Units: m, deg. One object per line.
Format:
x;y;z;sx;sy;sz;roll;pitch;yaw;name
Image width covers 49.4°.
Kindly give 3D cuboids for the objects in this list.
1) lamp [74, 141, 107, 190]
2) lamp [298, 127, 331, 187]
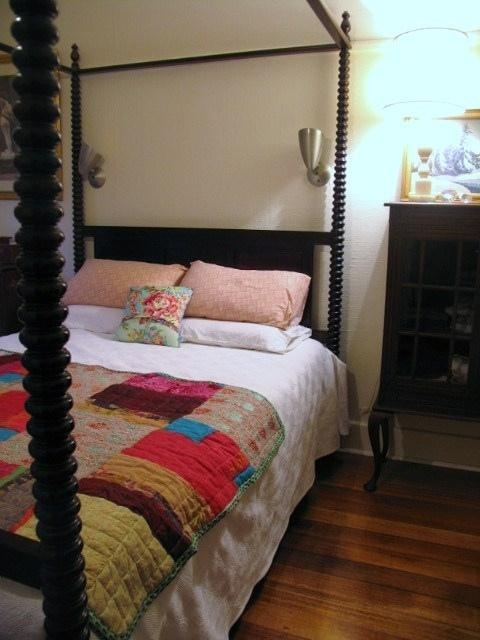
-0.972;-1.002;3.401;0.140;0.265;0.197;5;11;27;lamp
0.411;-0.880;2.845;0.135;0.280;0.224;4;10;24;lamp
